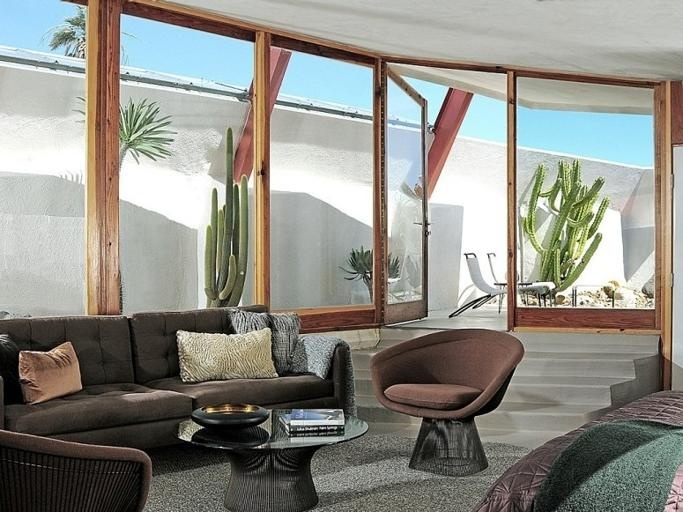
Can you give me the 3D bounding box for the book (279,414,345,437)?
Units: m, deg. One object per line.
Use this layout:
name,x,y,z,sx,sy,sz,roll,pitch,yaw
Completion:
book,-0.176,0.948,3.146,0.364,0.081,0.322,1,3,-6
